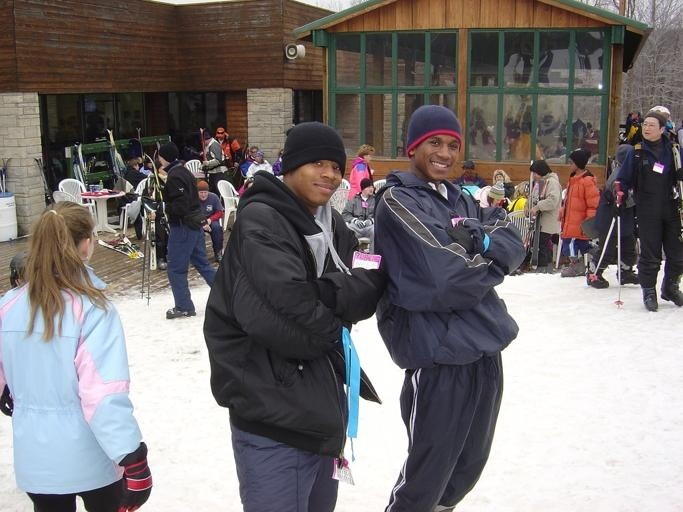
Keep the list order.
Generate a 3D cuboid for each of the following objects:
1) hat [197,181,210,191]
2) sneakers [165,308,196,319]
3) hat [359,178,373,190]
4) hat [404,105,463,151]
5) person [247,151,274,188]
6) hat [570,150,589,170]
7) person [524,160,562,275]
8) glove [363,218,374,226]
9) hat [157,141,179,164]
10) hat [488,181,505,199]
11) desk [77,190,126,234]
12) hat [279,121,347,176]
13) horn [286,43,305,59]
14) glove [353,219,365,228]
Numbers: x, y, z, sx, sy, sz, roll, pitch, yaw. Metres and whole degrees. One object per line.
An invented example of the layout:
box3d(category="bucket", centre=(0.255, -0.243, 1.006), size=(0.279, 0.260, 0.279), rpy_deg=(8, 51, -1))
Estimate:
box3d(category="hat", centre=(-2.240, -1.134, 9.684), size=(0.188, 0.214, 0.249), rpy_deg=(2, 6, -27))
box3d(category="sneakers", centre=(-2.052, 0.735, 7.608), size=(0.310, 0.153, 0.140), rpy_deg=(3, 2, -12))
box3d(category="hat", centre=(0.403, -1.185, 9.808), size=(0.179, 0.155, 0.186), rpy_deg=(-22, 6, 41))
box3d(category="hat", centre=(0.439, -0.646, 3.112), size=(0.288, 0.264, 0.308), rpy_deg=(-3, 1, -34))
box3d(category="person", centre=(-1.935, -2.048, 14.414), size=(0.615, 0.960, 0.491), rpy_deg=(-9, -4, -4))
box3d(category="hat", centre=(3.795, -1.532, 9.489), size=(0.300, 0.314, 0.247), rpy_deg=(-6, 12, -17))
box3d(category="person", centre=(3.566, -0.704, 10.499), size=(0.558, 1.911, 0.392), rpy_deg=(1, 11, 15))
box3d(category="glove", centre=(0.436, -0.543, 9.580), size=(0.170, 0.100, 0.224), rpy_deg=(-5, -1, 8))
box3d(category="hat", centre=(-2.244, -1.343, 7.733), size=(0.235, 0.266, 0.431), rpy_deg=(-5, 13, -16))
box3d(category="hat", centre=(2.836, -1.211, 10.846), size=(0.276, 0.309, 0.293), rpy_deg=(-5, 15, -23))
box3d(category="desk", centre=(-5.243, -0.973, 13.084), size=(0.766, 0.865, 0.798), rpy_deg=(0, 8, -8))
box3d(category="hat", centre=(-0.126, -0.499, 2.814), size=(0.259, 0.225, 0.223), rpy_deg=(2, 4, 27))
box3d(category="horn", centre=(-1.244, -5.714, 16.537), size=(0.559, 0.471, 0.560), rpy_deg=(4, 14, 25))
box3d(category="glove", centre=(0.290, -0.515, 9.603), size=(0.103, 0.161, 0.061), rpy_deg=(7, -11, -5))
